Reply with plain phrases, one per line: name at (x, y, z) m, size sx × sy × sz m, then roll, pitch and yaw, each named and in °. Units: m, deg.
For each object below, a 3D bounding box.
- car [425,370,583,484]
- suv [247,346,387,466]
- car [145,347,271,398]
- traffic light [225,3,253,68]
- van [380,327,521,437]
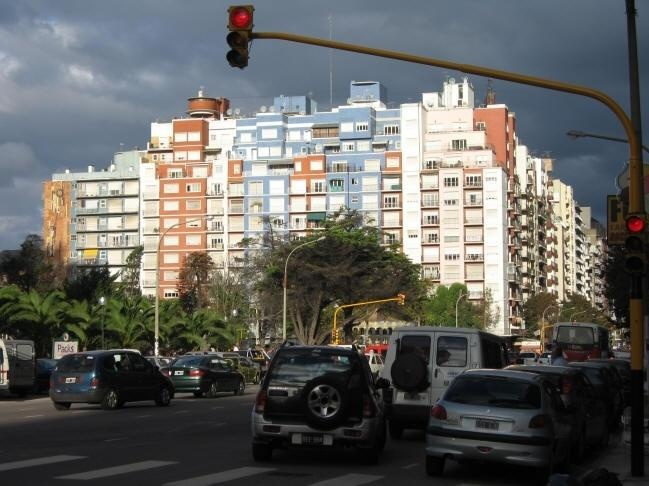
car at (3.407, 3.418, 18.848) m, size 2.087 × 2.205 × 3.464 m, roll -4°, pitch -8°, yaw 18°
suv at (-0.029, 3.225, 19.735) m, size 2.246 × 2.432 × 3.588 m, roll -2°, pitch -10°, yaw 3°
car at (-4.342, 5.288, 39.421) m, size 2.263 × 1.728 × 5.197 m, roll -2°, pitch -4°, yaw 28°
traffic light at (-1.559, -3.824, 17.976) m, size 0.470 × 1.227 × 0.366 m, roll 0°, pitch -5°, yaw -8°
van at (3.818, 3.609, 19.915) m, size 2.563 × 2.035 × 4.534 m, roll 2°, pitch -2°, yaw 21°
